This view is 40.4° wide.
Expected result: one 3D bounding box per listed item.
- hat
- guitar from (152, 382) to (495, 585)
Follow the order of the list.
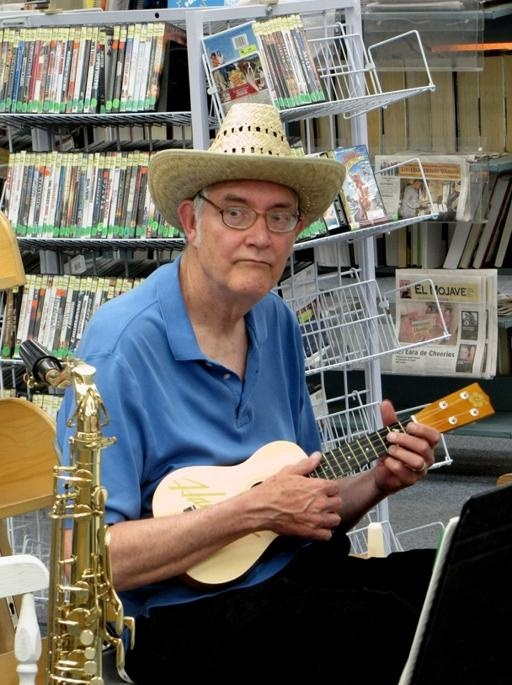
[{"bbox_3d":[-0.042,-0.336,1.449,0.345,0.133,0.377,11,-15,-29],"label":"hat"},{"bbox_3d":[0.178,0.245,1.477,0.917,0.287,0.119,-19,-12,-36],"label":"guitar"}]
